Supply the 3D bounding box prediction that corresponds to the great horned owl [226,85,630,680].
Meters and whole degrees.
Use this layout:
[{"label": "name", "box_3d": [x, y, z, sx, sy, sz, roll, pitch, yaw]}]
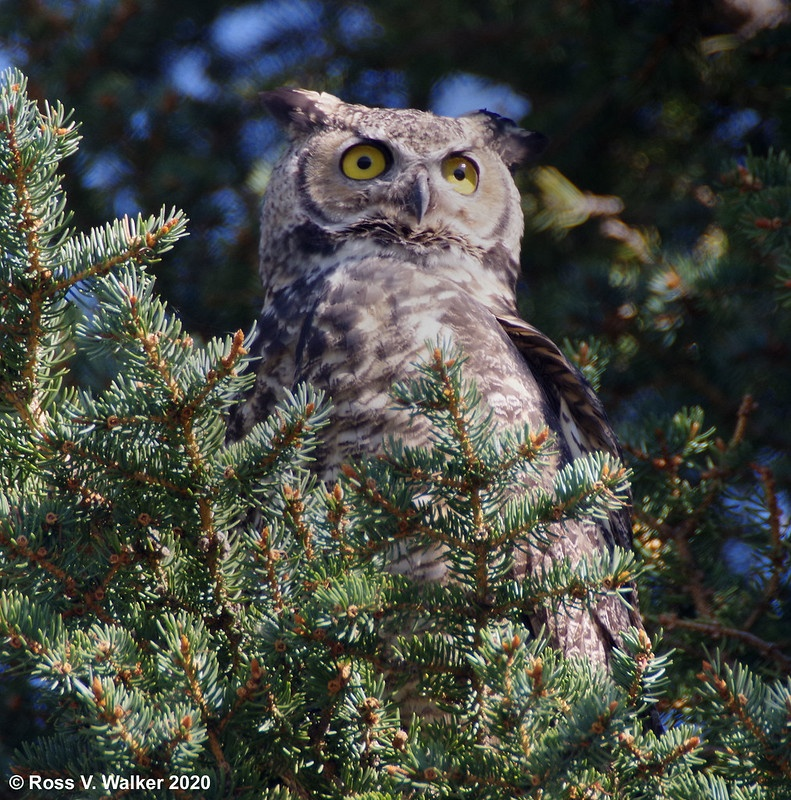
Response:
[{"label": "great horned owl", "box_3d": [0.123, -0.026, 4.958, 1.036, 1.322, 1.603, -9, 68, 26]}]
